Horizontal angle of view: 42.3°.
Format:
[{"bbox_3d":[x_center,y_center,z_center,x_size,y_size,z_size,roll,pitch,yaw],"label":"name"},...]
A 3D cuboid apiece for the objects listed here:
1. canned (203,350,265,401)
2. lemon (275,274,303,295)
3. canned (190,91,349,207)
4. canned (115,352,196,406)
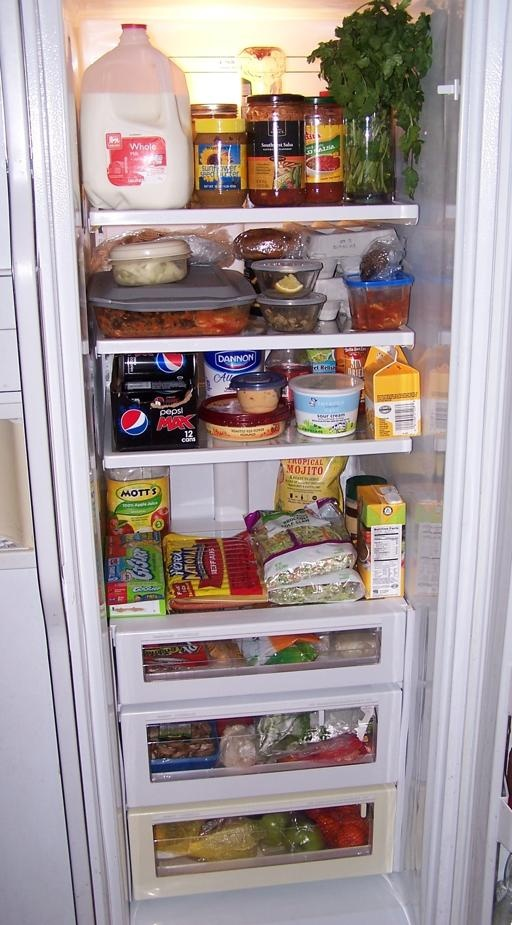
[{"bbox_3d":[-0.045,-0.173,1.223,0.078,0.108,0.088,-3,16,-10],"label":"canned"},{"bbox_3d":[0.051,-0.276,1.029,0.041,0.029,0.021,-2,17,2],"label":"lemon"},{"bbox_3d":[0.025,-0.465,0.996,0.235,0.149,0.082,-5,17,-5],"label":"canned"},{"bbox_3d":[-0.157,-0.135,1.032,0.113,0.074,0.089,1,37,-2],"label":"canned"}]
